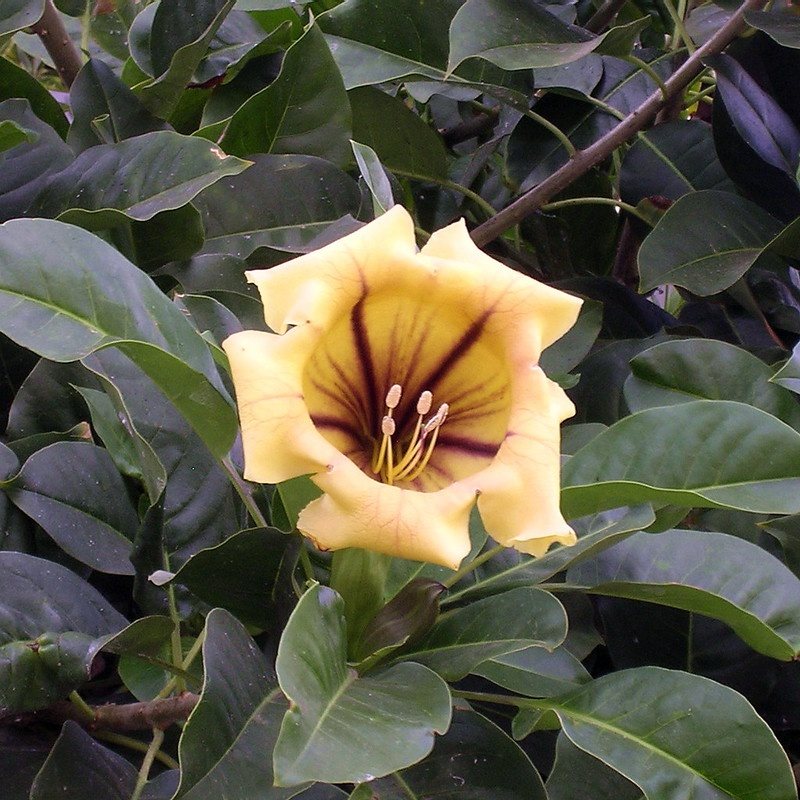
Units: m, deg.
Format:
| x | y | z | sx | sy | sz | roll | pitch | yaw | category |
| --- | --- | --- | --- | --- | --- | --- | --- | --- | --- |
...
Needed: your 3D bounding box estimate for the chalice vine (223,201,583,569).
| x | y | z | sx | sy | sz | roll | pitch | yaw | category |
| --- | --- | --- | --- | --- | --- | --- | --- | --- | --- |
| 0.004 | -0.011 | 1.365 | 0.444 | 0.354 | 0.493 | 5 | 40 | -1 | chalice vine |
